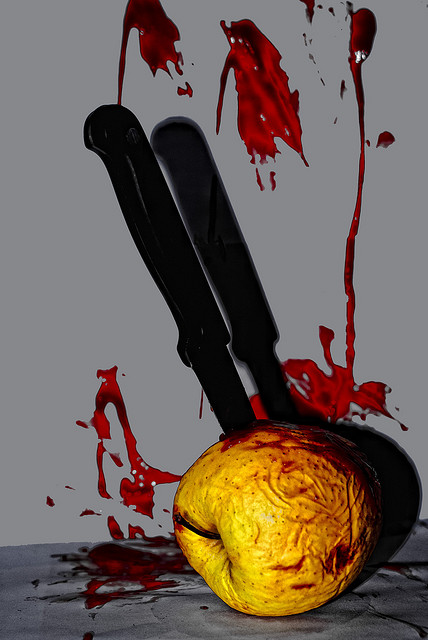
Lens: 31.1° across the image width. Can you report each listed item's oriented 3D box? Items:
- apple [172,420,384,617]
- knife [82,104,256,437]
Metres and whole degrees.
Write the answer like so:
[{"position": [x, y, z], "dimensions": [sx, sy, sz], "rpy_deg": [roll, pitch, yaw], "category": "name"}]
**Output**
[{"position": [0.077, 0.212, 0.929], "dimensions": [0.244, 0.220, 0.212], "rpy_deg": [2, -18, -29], "category": "apple"}, {"position": [-0.030, 0.014, 1.425], "dimensions": [0.121, 1.094, 0.048], "rpy_deg": [-27, 55, -5], "category": "knife"}]
